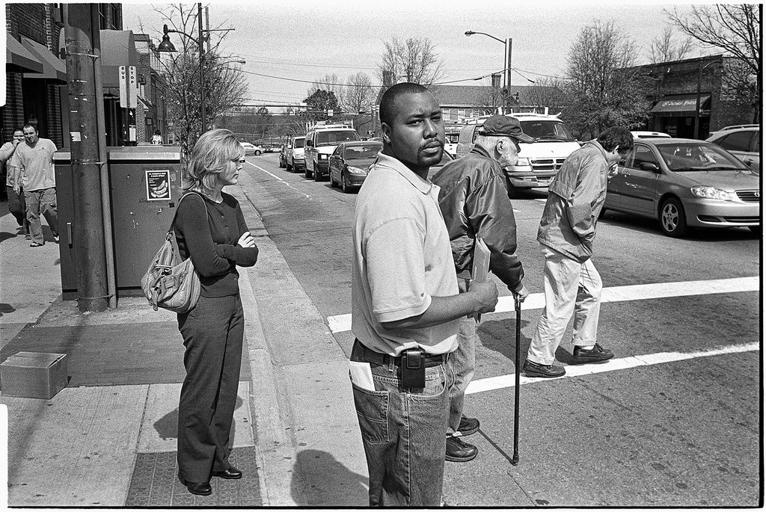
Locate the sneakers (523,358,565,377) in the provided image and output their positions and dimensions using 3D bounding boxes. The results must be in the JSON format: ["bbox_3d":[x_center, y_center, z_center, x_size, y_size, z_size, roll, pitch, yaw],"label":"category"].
[{"bbox_3d":[1.740,1.254,6.504,0.411,0.209,0.200,-2,9,-3],"label":"sneakers"}]

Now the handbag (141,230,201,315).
[{"bbox_3d":[-1.599,0.102,4.531,0.386,0.612,0.328,19,15,26],"label":"handbag"}]

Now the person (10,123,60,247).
[{"bbox_3d":[-7.415,-1.466,12.768,1.208,2.557,0.634,12,17,38],"label":"person"}]

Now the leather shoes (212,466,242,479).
[{"bbox_3d":[-1.250,1.727,4.759,0.207,0.096,0.098,-1,21,-5],"label":"leather shoes"}]

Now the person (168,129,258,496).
[{"bbox_3d":[-1.324,0.411,4.649,0.570,2.689,0.824,2,13,4],"label":"person"}]

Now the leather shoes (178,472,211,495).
[{"bbox_3d":[-1.442,1.763,4.628,0.268,0.127,0.116,3,6,10],"label":"leather shoes"}]

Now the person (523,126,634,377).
[{"bbox_3d":[2.127,-0.021,6.549,0.790,2.621,1.179,10,16,34],"label":"person"}]

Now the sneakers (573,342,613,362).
[{"bbox_3d":[2.381,1.113,6.928,0.491,0.235,0.193,-3,11,-13],"label":"sneakers"}]

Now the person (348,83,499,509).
[{"bbox_3d":[0.174,0.305,3.375,0.728,2.420,0.553,0,13,-3],"label":"person"}]

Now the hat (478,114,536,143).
[{"bbox_3d":[1.145,-1.212,5.692,0.418,0.157,0.283,-2,15,-33],"label":"hat"}]
